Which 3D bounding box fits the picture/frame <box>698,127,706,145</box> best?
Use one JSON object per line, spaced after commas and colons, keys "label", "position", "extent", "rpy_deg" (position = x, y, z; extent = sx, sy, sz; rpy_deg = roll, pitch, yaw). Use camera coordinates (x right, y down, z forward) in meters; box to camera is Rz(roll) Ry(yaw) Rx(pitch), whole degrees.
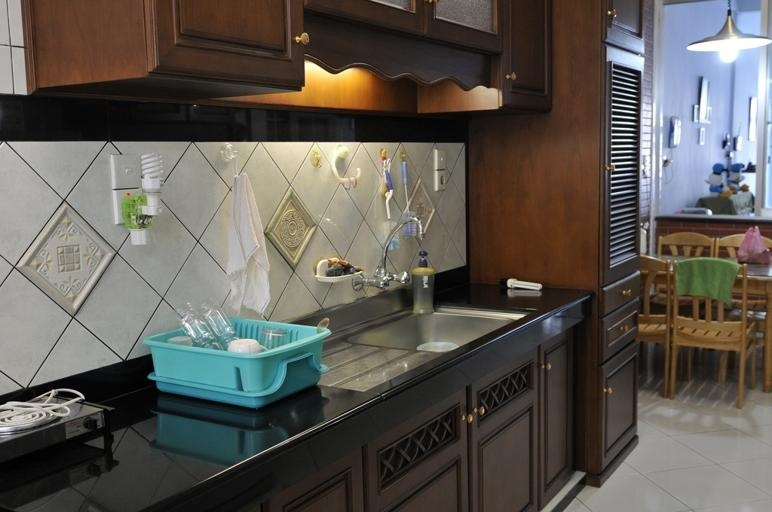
{"label": "picture/frame", "position": [5.176, -1.987, 9.172], "extent": [0.042, 0.395, 0.283], "rpy_deg": [5, 13, 38]}

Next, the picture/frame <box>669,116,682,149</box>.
{"label": "picture/frame", "position": [3.921, -1.698, 7.596], "extent": [0.101, 0.632, 0.557], "rpy_deg": [0, 4, 29]}

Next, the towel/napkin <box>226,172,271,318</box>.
{"label": "towel/napkin", "position": [-0.504, -0.046, 2.055], "extent": [0.145, 0.495, 0.126], "rpy_deg": [0, 14, -7]}

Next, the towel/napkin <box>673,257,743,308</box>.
{"label": "towel/napkin", "position": [2.348, 0.167, 4.183], "extent": [0.394, 0.295, 0.039], "rpy_deg": [2, -5, -21]}

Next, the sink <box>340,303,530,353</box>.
{"label": "sink", "position": [0.297, 0.349, 2.744], "extent": [0.310, 0.112, 0.460], "rpy_deg": [3, 11, 33]}
